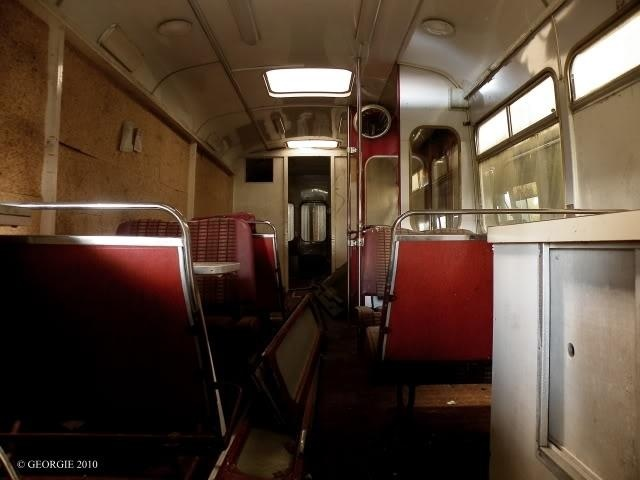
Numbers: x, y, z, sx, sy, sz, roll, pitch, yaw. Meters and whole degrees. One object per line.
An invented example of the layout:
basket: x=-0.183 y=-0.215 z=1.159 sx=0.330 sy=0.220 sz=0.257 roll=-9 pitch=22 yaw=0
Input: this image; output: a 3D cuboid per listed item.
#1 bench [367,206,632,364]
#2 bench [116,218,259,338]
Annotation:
bench: x=0.958 y=0.397 z=3.732 sx=1.233 sy=1.404 sz=0.881 roll=2 pitch=3 yaw=3
bench: x=-1.235 y=0.244 z=3.930 sx=1.263 sy=1.015 sz=0.708 roll=-3 pitch=-8 yaw=-11
